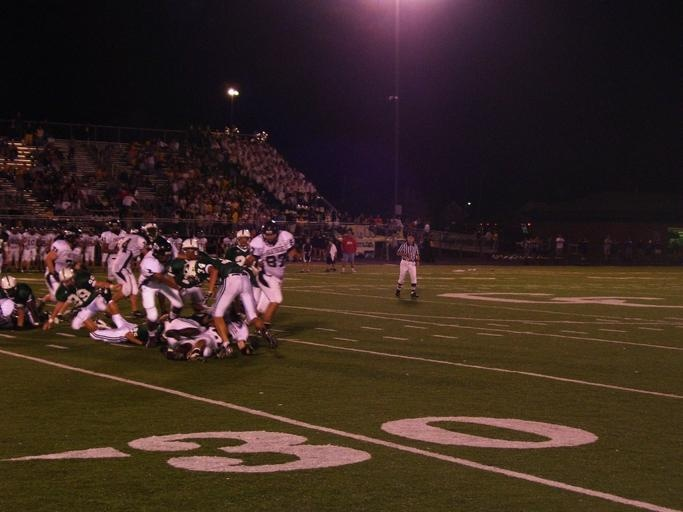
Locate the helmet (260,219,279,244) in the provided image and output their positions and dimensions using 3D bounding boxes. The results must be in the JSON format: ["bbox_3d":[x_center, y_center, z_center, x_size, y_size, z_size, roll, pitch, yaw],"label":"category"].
[{"bbox_3d":[-1.379,-0.473,12.219,0.313,0.449,0.519,1,2,-7],"label":"helmet"}]

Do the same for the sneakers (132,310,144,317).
[{"bbox_3d":[-4.938,1.359,15.324,0.386,0.163,0.159,-2,-1,36],"label":"sneakers"}]

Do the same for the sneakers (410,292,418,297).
[{"bbox_3d":[2.397,1.252,20.979,0.176,0.199,0.409,2,2,17],"label":"sneakers"}]

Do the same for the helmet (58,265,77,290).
[{"bbox_3d":[-5.186,0.379,12.063,0.279,0.363,0.353,3,1,-24],"label":"helmet"}]

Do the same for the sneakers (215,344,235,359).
[{"bbox_3d":[-1.901,1.562,10.411,0.152,0.189,0.407,0,-16,-7],"label":"sneakers"}]

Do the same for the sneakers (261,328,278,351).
[{"bbox_3d":[-1.262,1.376,11.176,0.263,0.206,0.565,-3,13,1],"label":"sneakers"}]

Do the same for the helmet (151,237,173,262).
[{"bbox_3d":[-3.395,-0.159,12.253,0.362,0.441,0.409,-14,23,-42],"label":"helmet"}]

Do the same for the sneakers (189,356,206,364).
[{"bbox_3d":[-2.286,1.627,10.176,0.263,0.082,0.186,1,2,-13],"label":"sneakers"}]

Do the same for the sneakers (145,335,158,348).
[{"bbox_3d":[-3.343,1.492,11.228,0.197,0.295,0.186,6,-10,-22],"label":"sneakers"}]
